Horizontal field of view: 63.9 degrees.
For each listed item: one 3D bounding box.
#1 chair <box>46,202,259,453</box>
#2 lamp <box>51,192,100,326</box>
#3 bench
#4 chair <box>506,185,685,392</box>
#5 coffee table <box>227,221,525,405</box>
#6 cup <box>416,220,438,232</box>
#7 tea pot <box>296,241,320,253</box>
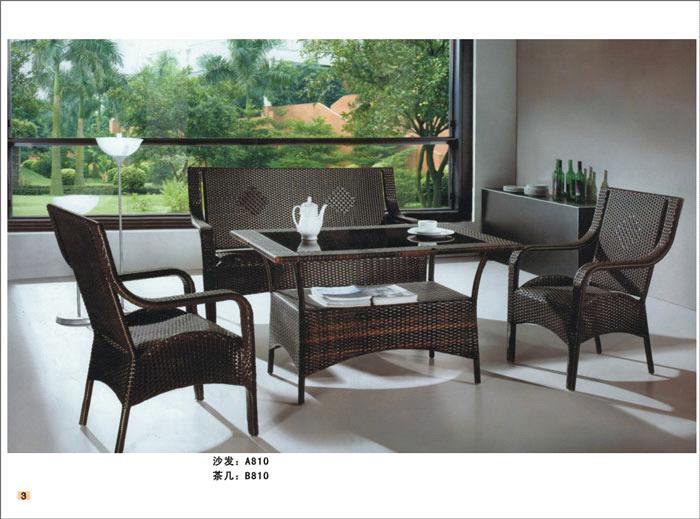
[{"bbox_3d":[-0.865,0.125,2.933,1.088,1.426,0.931,-6,14,-33],"label":"chair"},{"bbox_3d":[-1.946,0.177,4.022,0.279,0.549,0.241,4,-10,-28],"label":"lamp"},{"bbox_3d":[-0.436,-0.137,4.369,1.577,0.989,0.613,-4,-5,-21],"label":"bench"},{"bbox_3d":[1.342,0.126,3.184,0.803,0.939,0.785,-4,11,-1],"label":"chair"},{"bbox_3d":[0.070,0.251,3.158,1.406,0.763,0.990,-2,9,-21],"label":"coffee table"},{"bbox_3d":[0.426,-0.191,3.146,0.079,0.046,0.077,0,0,0],"label":"cup"},{"bbox_3d":[-0.206,-0.079,2.822,0.080,0.072,0.077,0,6,0],"label":"tea pot"}]
